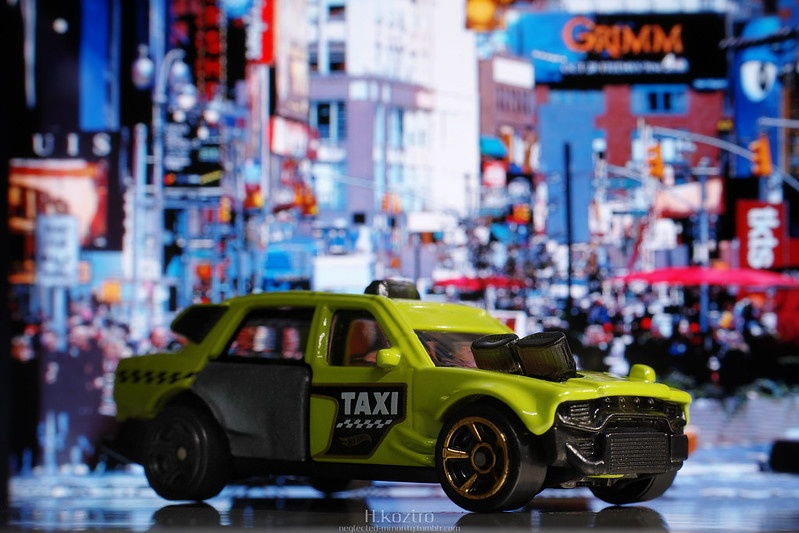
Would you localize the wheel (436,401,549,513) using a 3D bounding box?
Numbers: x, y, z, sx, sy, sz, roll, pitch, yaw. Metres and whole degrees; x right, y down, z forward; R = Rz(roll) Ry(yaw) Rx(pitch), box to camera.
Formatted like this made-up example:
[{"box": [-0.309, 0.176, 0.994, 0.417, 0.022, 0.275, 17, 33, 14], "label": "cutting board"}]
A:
[{"box": [0.847, 1.819, 12.716, 1.047, 1.095, 0.477, -10, -10, 41], "label": "wheel"}]

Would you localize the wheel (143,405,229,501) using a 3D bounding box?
[{"box": [-2.101, 1.869, 13.497, 0.873, 0.921, 0.267, 6, 5, 34], "label": "wheel"}]
